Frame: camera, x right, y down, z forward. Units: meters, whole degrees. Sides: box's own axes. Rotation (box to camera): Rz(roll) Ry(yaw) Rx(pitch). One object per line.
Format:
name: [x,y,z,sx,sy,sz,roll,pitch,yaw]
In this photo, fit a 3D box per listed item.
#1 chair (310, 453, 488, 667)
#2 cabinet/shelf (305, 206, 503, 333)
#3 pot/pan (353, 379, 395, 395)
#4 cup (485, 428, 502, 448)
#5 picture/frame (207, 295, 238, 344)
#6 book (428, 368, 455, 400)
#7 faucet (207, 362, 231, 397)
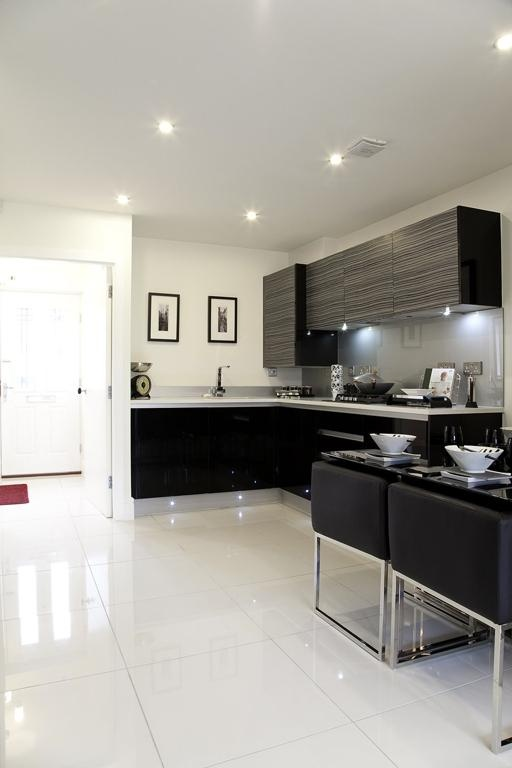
chair: [0.496,0.656,2.492,0.638,0.912,0.612,0,1,-20]
cabinet/shelf: [0.946,-0.754,3.934,0.372,0.608,1.602,1,-1,-26]
pot/pan: [0.818,0.028,3.887,0.143,0.111,0.318,1,-1,-30]
cup: [1.147,0.259,2.692,0.070,0.128,0.073,0,4,0]
picture/frame: [-0.338,-0.626,5.338,0.410,0.633,0.025,1,-3,-30]
book: [1.208,-0.001,3.605,0.023,0.244,0.172,19,-15,-22]
faucet: [-0.353,-0.039,5.220,0.192,0.302,0.360,0,-1,3]
